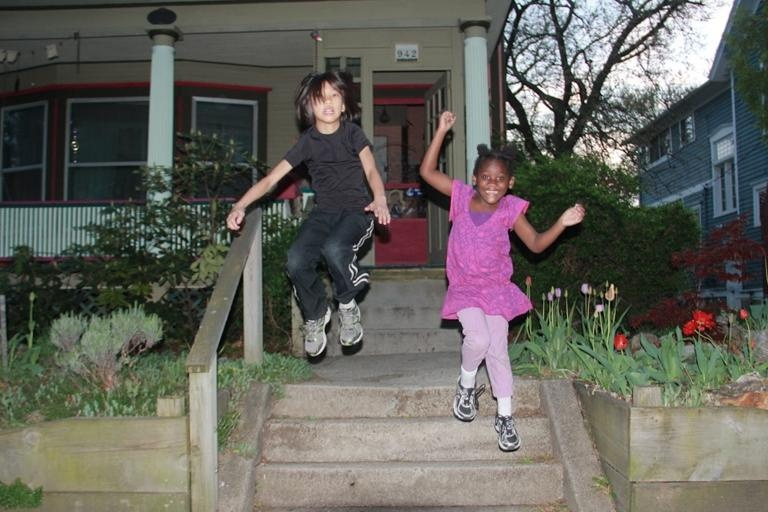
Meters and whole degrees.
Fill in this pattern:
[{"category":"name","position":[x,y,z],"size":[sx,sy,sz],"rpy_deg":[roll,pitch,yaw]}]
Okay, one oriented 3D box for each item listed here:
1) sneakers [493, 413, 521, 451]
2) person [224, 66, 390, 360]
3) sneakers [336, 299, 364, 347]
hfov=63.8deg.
[{"category":"sneakers","position":[1.119,1.546,5.567],"size":[0.198,0.202,0.467],"rpy_deg":[0,21,-2]},{"category":"person","position":[-0.634,-0.420,6.096],"size":[1.285,2.861,0.757],"rpy_deg":[1,-2,0]},{"category":"sneakers","position":[-0.338,0.693,6.251],"size":[0.210,0.598,0.265],"rpy_deg":[-5,-43,2]}]
